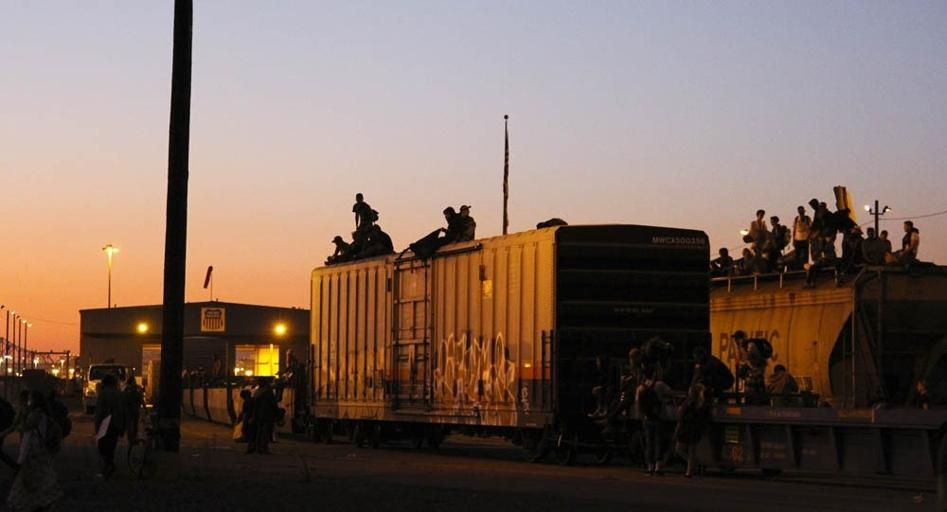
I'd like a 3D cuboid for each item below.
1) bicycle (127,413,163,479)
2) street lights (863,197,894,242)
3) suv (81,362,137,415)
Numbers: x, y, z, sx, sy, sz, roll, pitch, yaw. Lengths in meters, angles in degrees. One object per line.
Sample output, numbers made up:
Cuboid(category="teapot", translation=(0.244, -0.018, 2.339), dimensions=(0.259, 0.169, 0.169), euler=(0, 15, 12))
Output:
Cuboid(category="bicycle", translation=(-8.766, 5.312, 39.531), dimensions=(1.302, 2.036, 0.561), euler=(-1, -14, -11))
Cuboid(category="street lights", translation=(15.739, -1.418, 55.784), dimensions=(1.007, 1.716, 0.369), euler=(2, 33, 16))
Cuboid(category="suv", translation=(-19.799, 6.560, 77.350), dimensions=(2.527, 2.062, 4.403), euler=(2, 13, -12))
